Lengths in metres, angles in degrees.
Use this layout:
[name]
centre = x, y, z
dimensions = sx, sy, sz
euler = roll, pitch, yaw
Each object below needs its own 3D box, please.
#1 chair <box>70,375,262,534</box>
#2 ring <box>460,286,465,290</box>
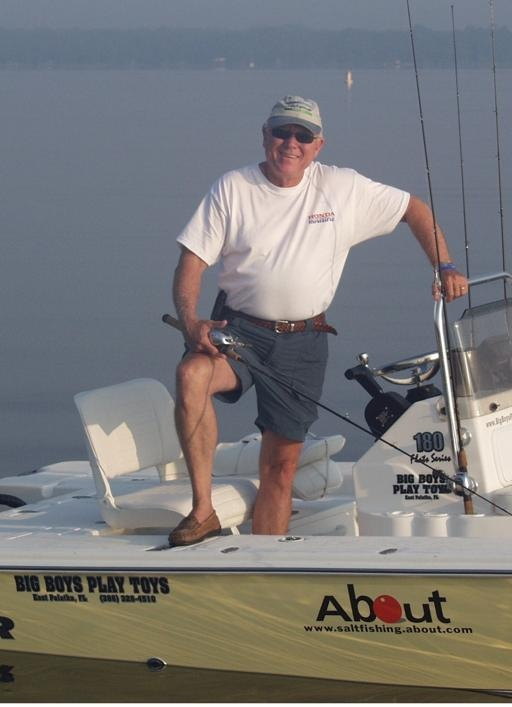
[chair]
centre = -0.209, 0.279, 3.590
dimensions = 0.478, 0.421, 0.407
euler = 3, 7, 36
[ring]
centre = 0.529, -0.163, 3.162
dimensions = 0.009, 0.009, 0.011
euler = 0, -10, 3
